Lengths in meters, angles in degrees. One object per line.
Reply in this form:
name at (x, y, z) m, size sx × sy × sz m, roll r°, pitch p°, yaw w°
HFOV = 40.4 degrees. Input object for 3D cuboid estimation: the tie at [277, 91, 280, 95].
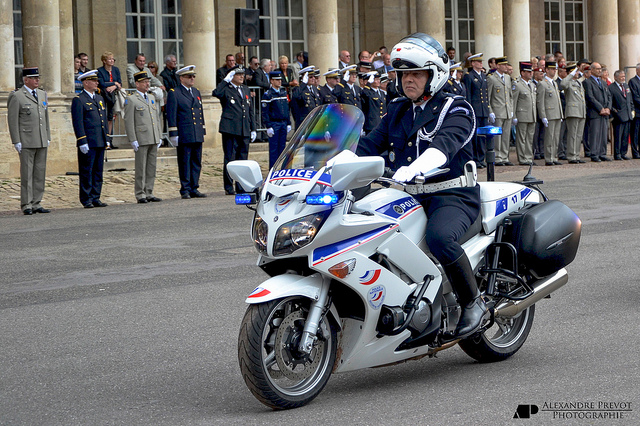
tie at (-0.980, -2.787, 20.093) m, size 0.027 × 0.081 × 0.087 m, roll -11°, pitch 51°, yaw -2°

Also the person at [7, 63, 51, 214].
person at (-5.361, -1.362, 16.094) m, size 0.699 × 2.611 × 1.164 m, roll -4°, pitch 9°, yaw -19°

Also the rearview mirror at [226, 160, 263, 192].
rearview mirror at (-0.560, -0.312, 6.714) m, size 0.250 × 0.245 × 0.210 m, roll -16°, pitch 5°, yaw 4°

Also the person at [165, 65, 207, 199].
person at (-2.748, -1.682, 17.788) m, size 0.746 × 2.617 × 1.063 m, roll -2°, pitch 9°, yaw -8°

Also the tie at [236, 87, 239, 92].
tie at (-1.790, -2.661, 18.605) m, size 0.028 × 0.102 × 0.077 m, roll 2°, pitch 12°, yaw -1°

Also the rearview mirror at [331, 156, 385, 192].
rearview mirror at (0.266, -0.285, 6.345) m, size 0.380 × 0.237 × 0.171 m, roll -1°, pitch 9°, yaw 1°
